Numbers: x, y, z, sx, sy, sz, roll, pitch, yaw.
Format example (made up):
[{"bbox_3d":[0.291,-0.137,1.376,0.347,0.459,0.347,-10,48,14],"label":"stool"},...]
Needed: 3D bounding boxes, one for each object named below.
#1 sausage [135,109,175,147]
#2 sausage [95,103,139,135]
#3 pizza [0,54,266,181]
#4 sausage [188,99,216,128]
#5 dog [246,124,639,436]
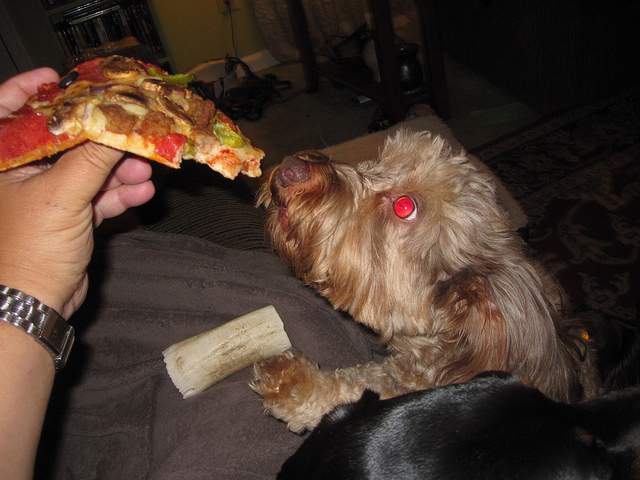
[{"bbox_3d":[-0.659,-0.452,2.050,0.139,0.043,0.139,38,60,-17],"label":"sausage"},{"bbox_3d":[-0.783,-0.462,2.003,0.153,0.040,0.149,-22,87,-32],"label":"sausage"},{"bbox_3d":[-0.775,-0.497,2.100,0.756,0.228,0.717,32,36,-2],"label":"pizza"},{"bbox_3d":[-0.527,-0.586,2.298,0.039,0.106,0.130,-26,49,43],"label":"sausage"},{"bbox_3d":[0.683,0.326,2.826,2.035,1.098,1.119,13,59,-7],"label":"dog"}]
